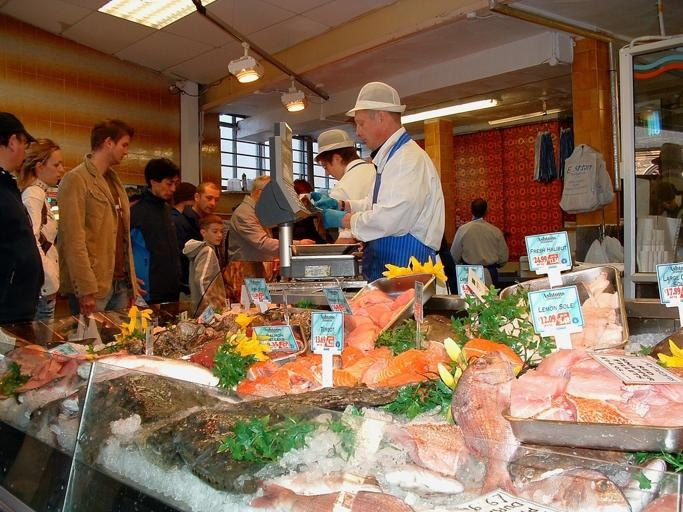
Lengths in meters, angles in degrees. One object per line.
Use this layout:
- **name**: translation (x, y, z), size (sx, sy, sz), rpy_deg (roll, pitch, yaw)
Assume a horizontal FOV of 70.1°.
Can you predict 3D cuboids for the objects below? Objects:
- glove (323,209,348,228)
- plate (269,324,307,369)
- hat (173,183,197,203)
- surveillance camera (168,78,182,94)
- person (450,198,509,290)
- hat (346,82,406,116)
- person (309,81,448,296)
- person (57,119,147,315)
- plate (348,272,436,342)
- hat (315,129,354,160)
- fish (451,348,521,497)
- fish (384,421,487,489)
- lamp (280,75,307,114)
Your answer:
- **glove**: translation (-0.060, -0.223, 2.991), size (0.129, 0.126, 0.098), rpy_deg (-2, 11, 0)
- **plate**: translation (-0.162, 0.283, 1.576), size (0.088, 0.074, 0.230), rpy_deg (-3, 2, 9)
- **hat**: translation (-1.616, -0.639, 5.098), size (0.246, 0.214, 0.233), rpy_deg (-1, 10, -25)
- **surveillance camera**: translation (-2.967, -3.031, 8.711), size (0.055, 0.208, 0.247), rpy_deg (-2, 2, 28)
- **person**: translation (1.991, -0.206, 7.354), size (0.803, 1.304, 0.646), rpy_deg (-2, 2, 33)
- **hat**: translation (0.199, -0.950, 3.001), size (0.393, 0.189, 0.307), rpy_deg (1, 6, -6)
- **person**: translation (0.238, -0.165, 3.099), size (0.835, 1.704, 0.765), rpy_deg (1, 12, 22)
- **person**: translation (-1.544, -0.262, 3.150), size (0.531, 1.156, 0.437), rpy_deg (-5, 3, -45)
- **plate**: translation (0.173, 0.164, 1.744), size (0.314, 0.115, 0.422), rpy_deg (-3, 2, 9)
- **hat**: translation (-0.106, -1.001, 4.365), size (0.325, 0.176, 0.274), rpy_deg (-11, 11, 20)
- **fish**: translation (0.248, 0.280, 0.837), size (0.127, 0.050, 0.296), rpy_deg (-19, 35, 21)
- **fish**: translation (0.150, 0.291, 0.762), size (0.094, 0.023, 0.093), rpy_deg (6, 15, -25)
- **lamp**: translation (-0.774, -2.582, 7.905), size (0.345, 0.577, 0.967), rpy_deg (-3, 2, -2)
